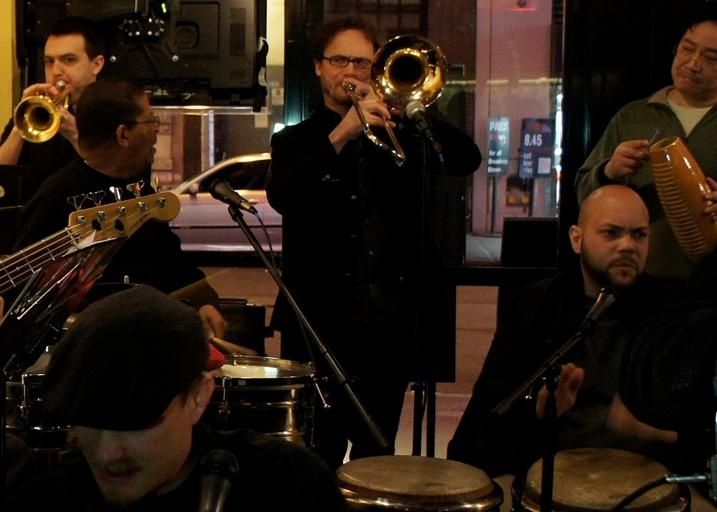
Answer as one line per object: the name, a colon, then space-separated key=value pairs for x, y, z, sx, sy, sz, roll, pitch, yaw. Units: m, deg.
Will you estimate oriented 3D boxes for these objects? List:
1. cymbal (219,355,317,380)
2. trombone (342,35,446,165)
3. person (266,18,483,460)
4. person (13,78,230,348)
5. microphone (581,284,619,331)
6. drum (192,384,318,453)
cymbal: x=-0.375 y=0.470 z=3.176 sx=0.260 sy=0.088 sz=0.383 roll=1 pitch=8 yaw=0
trombone: x=0.188 y=-0.628 z=3.137 sx=0.313 sy=0.515 sz=0.577 roll=-2 pitch=7 yaw=-28
person: x=0.064 y=0.091 z=3.487 sx=0.904 sy=2.160 sz=0.689 roll=-3 pitch=14 yaw=-5
person: x=-0.930 y=-0.285 z=3.310 sx=0.723 sy=1.232 sz=0.794 roll=16 pitch=22 yaw=32
microphone: x=0.850 y=0.186 z=2.815 sx=0.070 sy=0.233 sz=0.072 roll=31 pitch=-11 yaw=27
drum: x=-0.397 y=0.573 z=2.982 sx=0.318 sy=0.220 sz=0.308 roll=3 pitch=-2 yaw=0
